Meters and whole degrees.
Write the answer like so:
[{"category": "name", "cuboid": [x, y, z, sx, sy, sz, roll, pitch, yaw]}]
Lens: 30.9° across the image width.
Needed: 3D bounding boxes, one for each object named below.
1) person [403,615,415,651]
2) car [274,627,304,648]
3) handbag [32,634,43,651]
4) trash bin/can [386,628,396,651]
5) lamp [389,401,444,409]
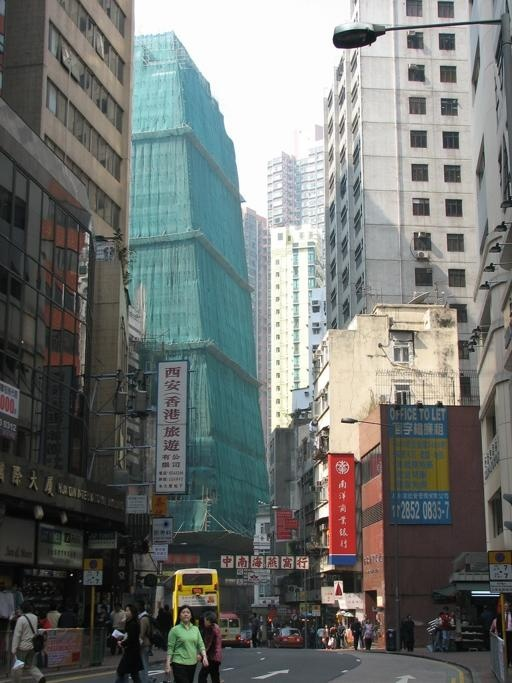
[{"category": "person", "cuboid": [6.493, 12.539, 39.793, 0.445, 1.433, 1.543, -4, -17, 7]}, {"category": "car", "cuboid": [1.972, 18.514, 57.823, 1.636, 1.202, 2.659, -2, -18, -3]}, {"category": "handbag", "cuboid": [-3.262, 4.459, 13.736, 0.137, 0.350, 0.218, 0, -15, 2]}, {"category": "trash bin/can", "cuboid": [5.830, 13.001, 40.324, 0.445, 0.833, 0.516, -8, -17, 19]}, {"category": "lamp", "cuboid": [10.244, 4.144, 59.959, 2.800, 0.625, 0.453, 2, -6, 4]}]
